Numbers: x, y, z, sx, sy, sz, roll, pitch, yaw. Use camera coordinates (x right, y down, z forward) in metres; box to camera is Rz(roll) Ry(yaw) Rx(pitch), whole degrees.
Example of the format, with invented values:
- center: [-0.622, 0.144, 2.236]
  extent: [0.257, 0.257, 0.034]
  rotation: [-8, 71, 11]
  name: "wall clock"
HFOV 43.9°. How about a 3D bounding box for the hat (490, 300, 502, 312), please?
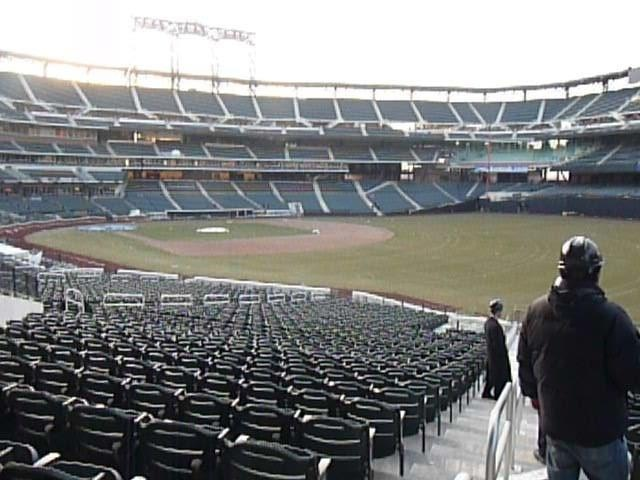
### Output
- center: [2.685, 0.983, 12.106]
  extent: [0.175, 0.178, 0.215]
  rotation: [3, 9, 5]
  name: "hat"
